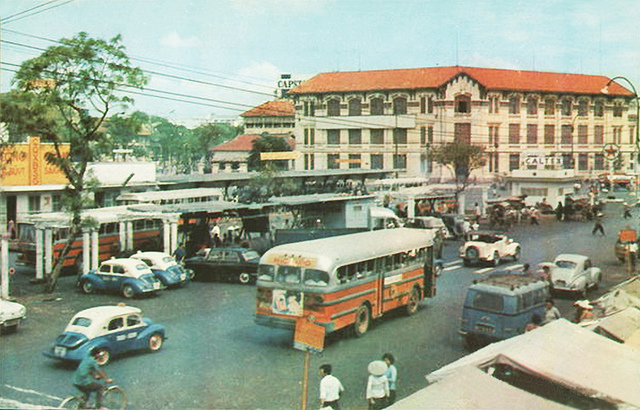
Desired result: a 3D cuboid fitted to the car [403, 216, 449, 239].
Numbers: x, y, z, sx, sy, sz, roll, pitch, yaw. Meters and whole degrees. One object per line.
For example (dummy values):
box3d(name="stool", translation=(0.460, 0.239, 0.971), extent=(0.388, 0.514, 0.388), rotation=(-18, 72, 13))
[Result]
box3d(name="car", translation=(8.838, 1.954, 62.613), extent=(3.258, 1.413, 1.905), rotation=(2, 2, 27))

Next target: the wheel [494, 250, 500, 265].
box3d(name="wheel", translation=(12.900, 3.884, 54.725), extent=(0.121, 1.078, 0.633), rotation=(2, 4, 44))

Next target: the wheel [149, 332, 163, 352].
box3d(name="wheel", translation=(-8.691, 7.315, 39.688), extent=(0.342, 0.889, 0.945), rotation=(-4, -15, 24))

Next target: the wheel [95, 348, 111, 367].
box3d(name="wheel", translation=(-10.886, 7.706, 37.642), extent=(0.406, 0.986, 1.052), rotation=(-14, -8, 26))

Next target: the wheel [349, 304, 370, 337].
box3d(name="wheel", translation=(2.099, 6.352, 40.861), extent=(0.679, 1.782, 1.907), rotation=(-2, -6, 29))

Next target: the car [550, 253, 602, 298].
box3d(name="car", translation=(15.995, 4.553, 47.129), extent=(3.098, 2.587, 1.364), rotation=(-2, 3, -33))

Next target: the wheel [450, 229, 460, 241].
box3d(name="wheel", translation=(11.785, 2.788, 65.524), extent=(0.197, 0.759, 0.796), rotation=(-5, 1, -36))

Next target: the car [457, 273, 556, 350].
box3d(name="car", translation=(10.572, 5.823, 41.636), extent=(3.728, 3.424, 6.470), rotation=(6, 7, 36))

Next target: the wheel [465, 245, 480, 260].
box3d(name="wheel", translation=(11.139, 3.521, 54.618), extent=(0.466, 1.097, 1.153), rotation=(2, -3, -43))

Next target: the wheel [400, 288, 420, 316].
box3d(name="wheel", translation=(5.227, 5.723, 43.970), extent=(0.635, 1.678, 1.792), rotation=(0, 3, 29))

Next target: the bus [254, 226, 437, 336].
box3d(name="bus", translation=(1.999, 4.277, 44.909), extent=(5.145, 4.909, 13.979), rotation=(3, 4, 32))

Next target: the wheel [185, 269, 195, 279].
box3d(name="wheel", translation=(-8.751, 4.768, 50.655), extent=(0.492, 0.801, 1.621), rotation=(-1, 2, -5))

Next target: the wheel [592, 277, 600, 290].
box3d(name="wheel", translation=(17.986, 5.129, 48.759), extent=(0.300, 0.784, 1.066), rotation=(1, 3, 31))

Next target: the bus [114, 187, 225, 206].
box3d(name="bus", translation=(-11.617, -0.602, 61.674), extent=(2.730, 2.066, 10.587), rotation=(-4, -3, 39))

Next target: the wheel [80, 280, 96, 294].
box3d(name="wheel", translation=(-14.811, 5.297, 48.107), extent=(0.856, 0.797, 0.357), rotation=(9, 14, 17))

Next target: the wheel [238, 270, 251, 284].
box3d(name="wheel", translation=(-4.995, 4.878, 50.122), extent=(0.874, 0.957, 0.150), rotation=(1, 3, 22))

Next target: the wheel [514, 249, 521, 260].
box3d(name="wheel", translation=(14.910, 3.851, 56.557), extent=(0.175, 0.691, 0.724), rotation=(9, 20, 15))

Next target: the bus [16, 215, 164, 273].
box3d(name="bus", translation=(-16.674, 2.369, 53.826), extent=(4.041, 3.314, 11.897), rotation=(9, 6, 24))
